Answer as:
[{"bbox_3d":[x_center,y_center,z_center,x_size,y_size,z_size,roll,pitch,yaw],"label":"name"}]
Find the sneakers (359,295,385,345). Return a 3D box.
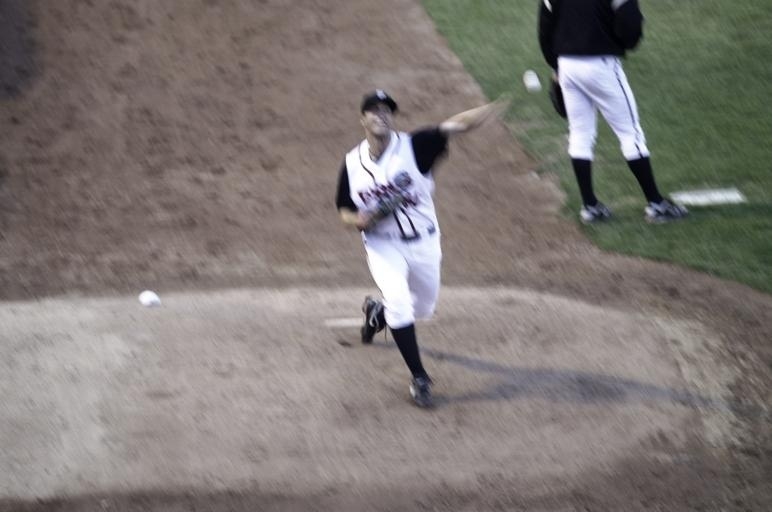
[{"bbox_3d":[-0.165,0.618,10.912,0.228,0.507,0.185,-8,43,-24],"label":"sneakers"}]

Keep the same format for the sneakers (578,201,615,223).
[{"bbox_3d":[2.161,-0.442,11.556,0.283,0.184,0.145,5,3,-32],"label":"sneakers"}]

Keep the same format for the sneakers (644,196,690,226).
[{"bbox_3d":[2.841,-0.451,11.303,0.398,0.187,0.215,-7,39,18],"label":"sneakers"}]

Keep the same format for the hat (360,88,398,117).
[{"bbox_3d":[-0.092,-1.392,10.082,0.327,0.244,0.219,-23,36,-12],"label":"hat"}]

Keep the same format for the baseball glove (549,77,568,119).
[{"bbox_3d":[1.739,-1.641,11.453,0.130,0.363,0.269,-10,27,30],"label":"baseball glove"}]
